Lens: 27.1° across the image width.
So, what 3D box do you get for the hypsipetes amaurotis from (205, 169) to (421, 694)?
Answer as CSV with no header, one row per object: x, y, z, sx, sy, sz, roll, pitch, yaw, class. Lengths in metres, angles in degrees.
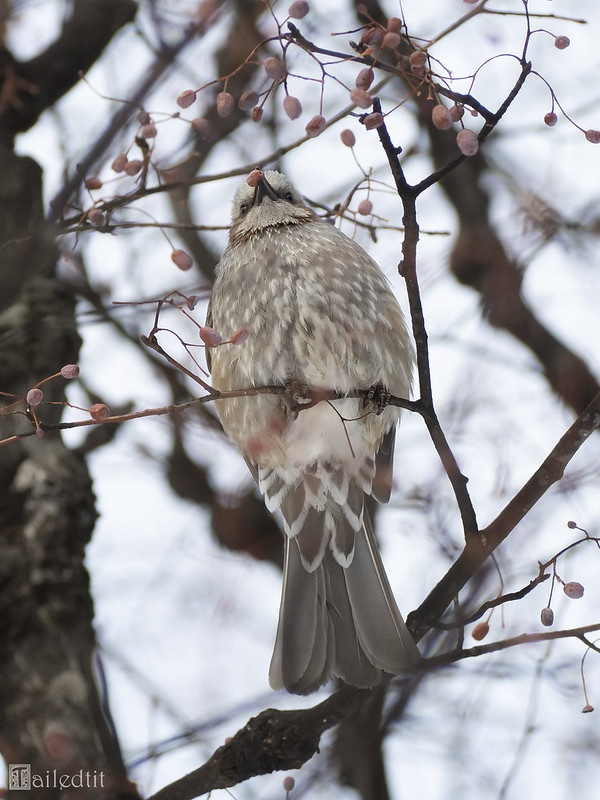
0.072,0.109,4.210,0.671,0.662,1.834,-8,89,0,hypsipetes amaurotis

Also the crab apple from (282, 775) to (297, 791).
-0.033,1.179,3.836,0.042,0.058,0.034,-4,50,-14,crab apple

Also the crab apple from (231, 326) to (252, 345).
-0.169,-0.173,3.461,0.024,0.072,0.039,35,63,-6,crab apple

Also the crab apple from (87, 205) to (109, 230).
-0.606,-0.548,3.742,0.063,0.077,0.060,1,49,-10,crab apple
